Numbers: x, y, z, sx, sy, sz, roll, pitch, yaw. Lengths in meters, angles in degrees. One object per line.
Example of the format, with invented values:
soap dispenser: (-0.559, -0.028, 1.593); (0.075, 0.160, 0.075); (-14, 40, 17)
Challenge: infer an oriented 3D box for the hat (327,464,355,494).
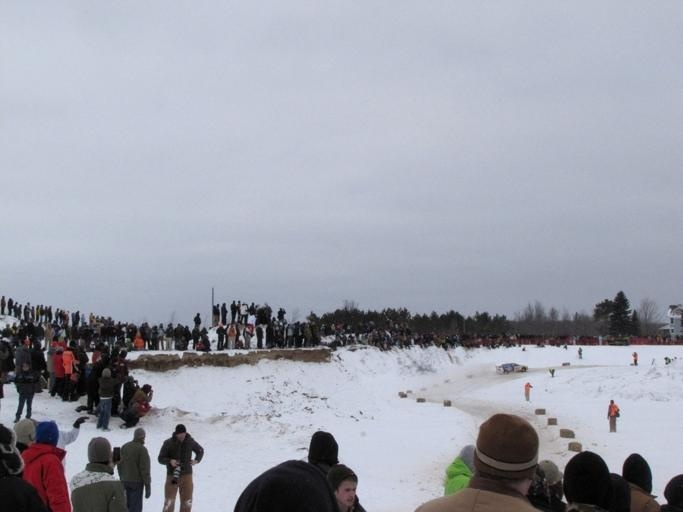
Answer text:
hat: (-0.005, 4.678, 15.457); (0.541, 0.588, 0.463); (-7, -11, 44)

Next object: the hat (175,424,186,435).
hat: (-4.614, 4.961, 21.079); (0.236, 0.326, 0.354); (1, -5, -9)

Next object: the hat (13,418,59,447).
hat: (-6.958, 4.037, 16.842); (0.798, 0.500, 0.601); (4, 21, 7)

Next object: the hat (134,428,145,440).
hat: (-5.515, 4.894, 20.203); (0.230, 0.331, 0.321); (5, -4, 12)

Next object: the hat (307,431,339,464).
hat: (-0.421, 4.153, 16.067); (0.641, 0.767, 0.629); (0, -1, -12)

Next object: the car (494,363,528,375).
car: (12.779, 8.525, 55.596); (1.930, 0.766, 0.941); (-6, 1, -7)
